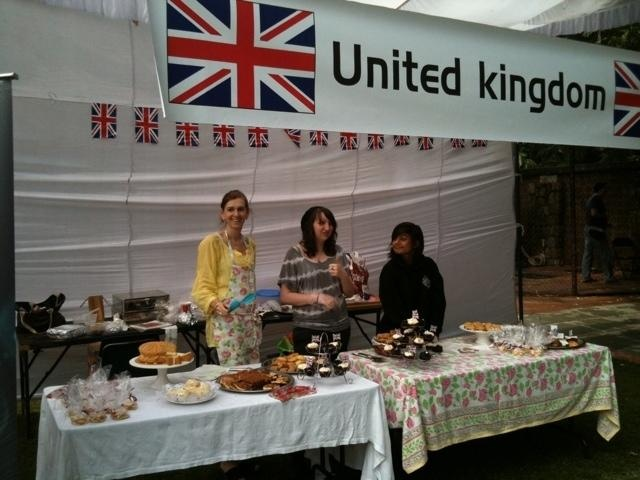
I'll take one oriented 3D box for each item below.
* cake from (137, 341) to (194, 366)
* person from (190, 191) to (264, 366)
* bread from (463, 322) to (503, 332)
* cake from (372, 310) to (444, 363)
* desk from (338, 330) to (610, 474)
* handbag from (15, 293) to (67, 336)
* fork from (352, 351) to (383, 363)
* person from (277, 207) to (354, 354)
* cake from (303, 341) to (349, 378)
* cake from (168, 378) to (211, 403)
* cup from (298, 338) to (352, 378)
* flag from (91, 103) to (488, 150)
[{"bbox_3d":[-1.000,0.714,3.265,0.340,0.130,0.301,-1,4,-14],"label":"cake"},{"bbox_3d":[-0.692,0.417,3.866,0.360,1.063,0.503,2,5,27],"label":"person"},{"bbox_3d":[1.357,0.717,4.172,0.215,0.056,0.222,1,0,-23],"label":"bread"},{"bbox_3d":[0.646,0.729,3.672,0.397,0.271,0.418,1,-1,1],"label":"cake"},{"bbox_3d":[1.245,0.887,3.755,1.641,0.647,0.984,-2,2,-29],"label":"desk"},{"bbox_3d":[-2.631,0.666,4.777,0.481,0.366,0.305,1,-1,-37],"label":"handbag"},{"bbox_3d":[0.358,0.851,3.749,0.068,0.025,0.234,2,-3,-24],"label":"fork"},{"bbox_3d":[-0.037,0.342,3.889,0.589,1.179,0.534,0,4,1],"label":"person"},{"bbox_3d":[0.038,0.783,3.335,0.214,0.187,0.240,-1,-6,1],"label":"cake"},{"bbox_3d":[-0.744,0.875,2.919,0.138,0.053,0.145,0,2,-40],"label":"cake"},{"bbox_3d":[0.050,0.746,3.329,0.248,0.227,0.244,0,-5,0],"label":"cup"},{"bbox_3d":[-0.523,-1.292,6.135,4.162,0.431,0.150,-2,5,-22],"label":"flag"}]
